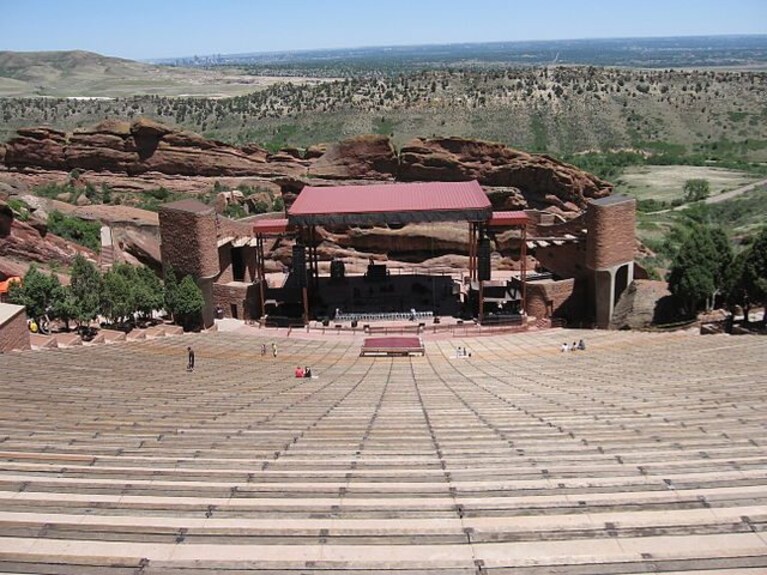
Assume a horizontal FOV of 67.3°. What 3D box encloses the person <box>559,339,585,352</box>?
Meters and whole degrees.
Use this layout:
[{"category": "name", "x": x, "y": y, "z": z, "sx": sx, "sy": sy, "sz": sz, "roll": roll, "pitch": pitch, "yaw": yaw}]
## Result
[{"category": "person", "x": 11.754, "y": 3.597, "z": 35.382, "sx": 1.293, "sy": 0.360, "sz": 1.009, "roll": -2, "pitch": 9, "yaw": 4}]
